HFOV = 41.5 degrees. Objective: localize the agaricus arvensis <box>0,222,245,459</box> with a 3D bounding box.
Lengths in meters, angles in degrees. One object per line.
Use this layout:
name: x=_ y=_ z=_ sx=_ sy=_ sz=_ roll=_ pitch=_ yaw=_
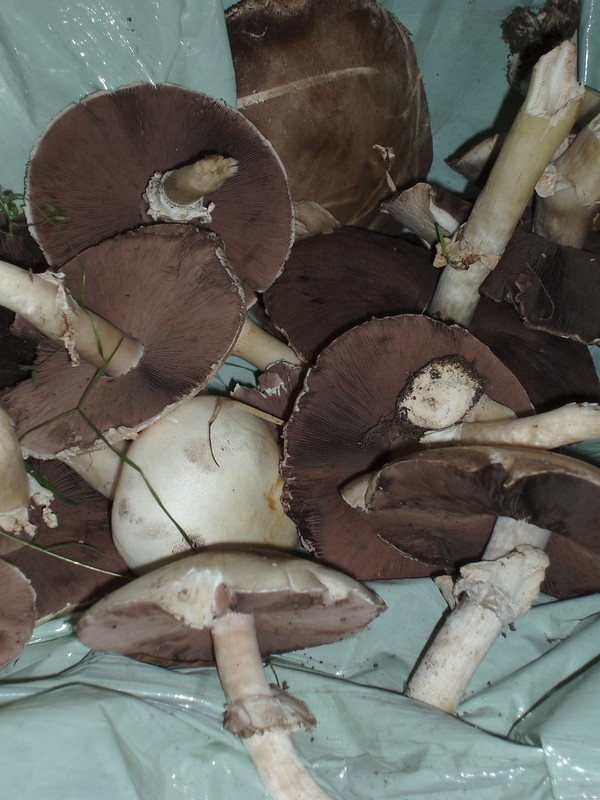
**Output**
agaricus arvensis: x=-0.350 y=-0.110 z=1.554 sx=0.475 sy=0.406 sz=0.332 roll=0 pitch=45 yaw=-4
